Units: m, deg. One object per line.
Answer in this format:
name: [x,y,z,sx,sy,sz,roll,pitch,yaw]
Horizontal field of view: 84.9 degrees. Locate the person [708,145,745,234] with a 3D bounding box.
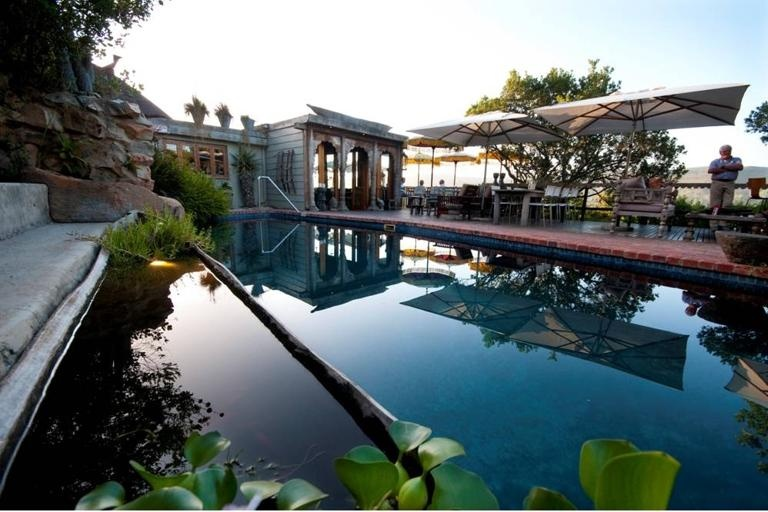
person: [6.430,-1.472,7.957,0.390,1.226,0.482,-13,19,-41]

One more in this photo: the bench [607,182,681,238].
bench: [5.238,-1.004,8.432,0.906,1.178,1.782,11,18,36]

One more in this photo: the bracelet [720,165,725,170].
bracelet: [6.363,-1.659,7.874,0.044,0.084,0.046,19,-18,8]
